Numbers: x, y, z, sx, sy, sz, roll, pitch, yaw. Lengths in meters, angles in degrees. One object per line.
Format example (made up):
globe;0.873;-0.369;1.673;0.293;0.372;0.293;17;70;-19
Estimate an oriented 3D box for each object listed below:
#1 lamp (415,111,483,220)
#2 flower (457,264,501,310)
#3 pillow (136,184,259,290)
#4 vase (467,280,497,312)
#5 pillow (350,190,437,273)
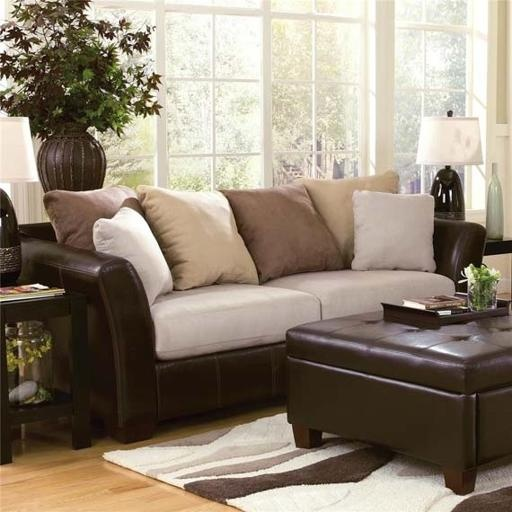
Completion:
lamp;1.422;-0.665;4.073;0.406;0.784;0.375;1;15;46
flower;0.904;0.126;2.241;0.175;0.171;0.156;-2;-3;38
pillow;-0.257;-0.043;3.051;0.337;0.478;0.610;21;24;36
vase;0.893;0.156;2.190;0.117;0.116;0.119;-2;-6;23
pillow;0.837;-0.148;3.415;0.578;0.471;0.197;1;2;-16
